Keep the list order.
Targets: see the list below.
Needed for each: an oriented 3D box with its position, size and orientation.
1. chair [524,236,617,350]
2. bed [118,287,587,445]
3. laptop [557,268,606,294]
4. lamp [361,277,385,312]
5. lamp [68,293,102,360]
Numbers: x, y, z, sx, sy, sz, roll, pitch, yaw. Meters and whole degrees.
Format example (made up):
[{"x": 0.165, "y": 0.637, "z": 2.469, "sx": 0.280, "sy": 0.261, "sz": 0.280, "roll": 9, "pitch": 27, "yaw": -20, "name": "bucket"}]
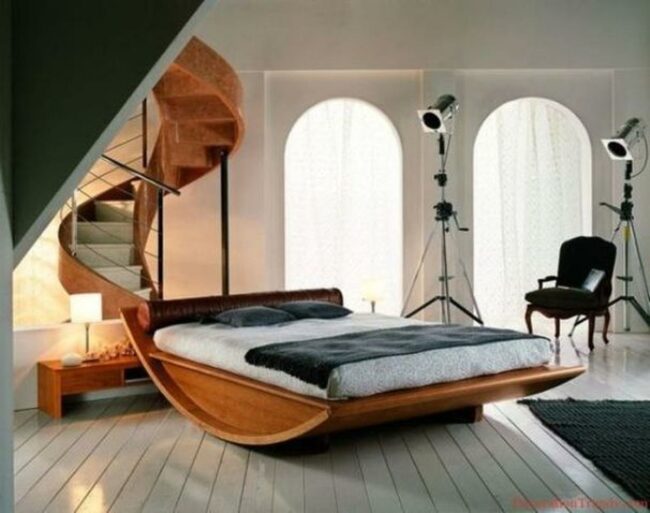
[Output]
[{"x": 2.639, "y": 0.356, "z": 5.467, "sx": 0.829, "sy": 1.193, "sz": 0.704, "roll": -1, "pitch": 2, "yaw": -37, "name": "chair"}, {"x": -0.315, "y": 0.591, "z": 3.304, "sx": 1.802, "sy": 0.473, "sz": 1.183, "roll": 6, "pitch": 24, "yaw": 37, "name": "bed"}, {"x": 2.675, "y": 0.261, "z": 5.292, "sx": 0.165, "sy": 0.288, "sz": 0.270, "roll": 16, "pitch": 1, "yaw": -19, "name": "laptop"}, {"x": 0.468, "y": 0.393, "z": 5.049, "sx": 0.240, "sy": 0.382, "sz": 0.252, "roll": -3, "pitch": 16, "yaw": -2, "name": "lamp"}, {"x": -1.763, "y": 0.499, "z": 3.820, "sx": 0.199, "sy": 0.447, "sz": 0.291, "roll": -2, "pitch": 2, "yaw": -27, "name": "lamp"}]
